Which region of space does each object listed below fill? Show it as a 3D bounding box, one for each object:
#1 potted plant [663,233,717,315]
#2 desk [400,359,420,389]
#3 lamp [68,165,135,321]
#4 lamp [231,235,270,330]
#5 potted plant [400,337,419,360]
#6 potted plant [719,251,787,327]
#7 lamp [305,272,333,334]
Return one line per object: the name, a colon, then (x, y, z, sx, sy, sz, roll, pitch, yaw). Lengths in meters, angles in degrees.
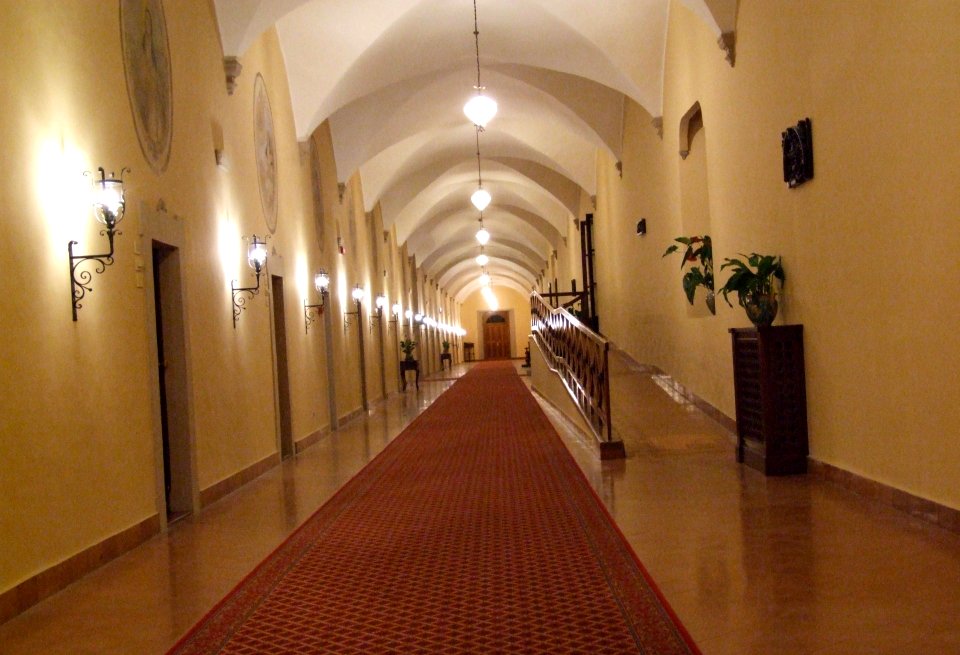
potted plant: (3.073, -0.881, 9.868, 0.648, 0.817, 0.469, -24, 0, -40)
desk: (-2.138, 1.382, 20.930, 0.607, 0.836, 1.030, 0, -1, 3)
lamp: (-3.109, -0.713, 5.772, 0.357, 1.270, 0.670, -3, 4, -1)
lamp: (-2.893, -0.543, 8.600, 0.376, 1.140, 0.217, 1, 0, -12)
potted plant: (-2.256, 0.632, 20.578, 0.549, 0.666, 0.608, 0, -3, 9)
potted plant: (2.849, -0.407, 7.428, 0.687, 0.818, 0.750, 0, -4, -6)
lamp: (-2.801, -0.413, 11.833, 0.435, 1.211, 0.257, -3, 17, -17)
